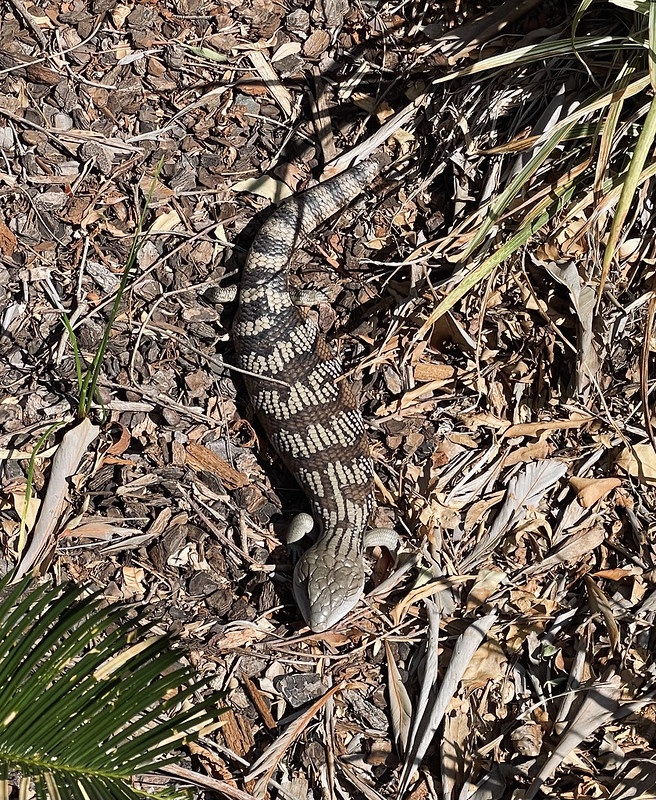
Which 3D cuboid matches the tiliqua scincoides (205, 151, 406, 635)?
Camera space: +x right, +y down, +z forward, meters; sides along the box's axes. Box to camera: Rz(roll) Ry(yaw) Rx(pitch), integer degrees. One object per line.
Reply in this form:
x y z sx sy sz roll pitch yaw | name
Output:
-0.057 -0.023 2.141 0.554 0.174 1.057 -11 96 -7 | tiliqua scincoides
